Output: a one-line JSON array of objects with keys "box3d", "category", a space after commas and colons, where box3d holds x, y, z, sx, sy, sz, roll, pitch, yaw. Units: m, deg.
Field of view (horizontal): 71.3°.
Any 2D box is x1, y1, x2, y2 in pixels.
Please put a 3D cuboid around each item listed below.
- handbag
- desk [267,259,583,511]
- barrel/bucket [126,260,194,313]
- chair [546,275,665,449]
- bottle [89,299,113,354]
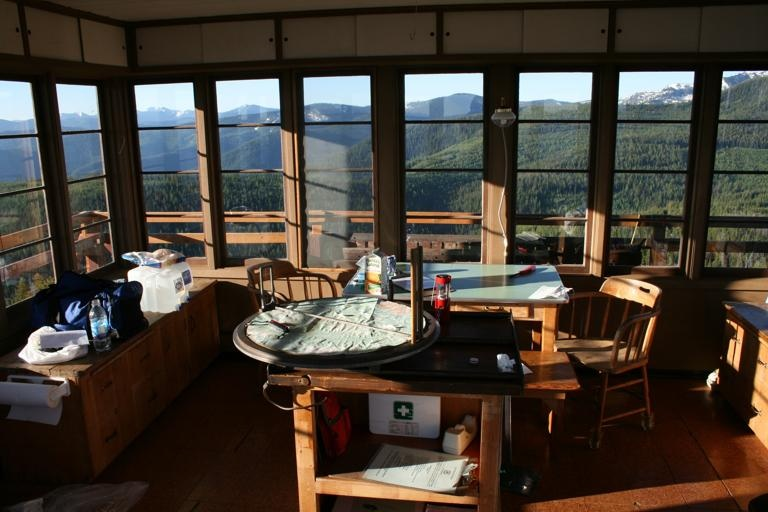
[{"box3d": [-2.385, 0.402, 4.628, 0.703, 0.635, 0.457, -1, 13, 0], "category": "handbag"}, {"box3d": [0.503, 0.872, 3.899, 2.276, 1.426, 1.986, 0, 13, 9], "category": "desk"}, {"box3d": [-2.058, 0.281, 5.139, 0.510, 0.424, 0.492, -4, 14, 1], "category": "barrel/bucket"}, {"box3d": [1.962, 0.874, 4.831, 0.890, 1.244, 0.906, -4, 11, -17], "category": "chair"}, {"box3d": [-2.311, 0.557, 4.341, 0.139, 0.405, 0.217, -10, 16, -31], "category": "bottle"}]
